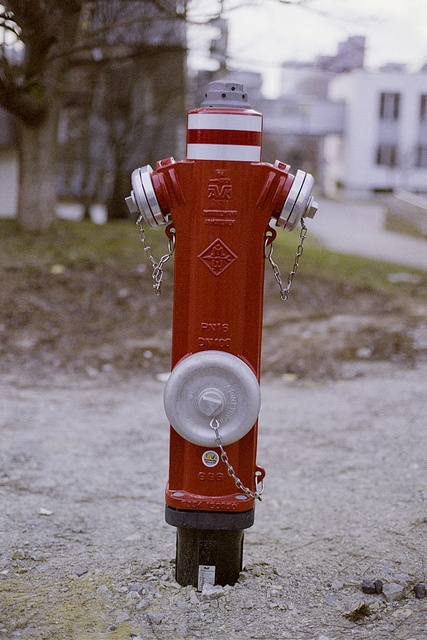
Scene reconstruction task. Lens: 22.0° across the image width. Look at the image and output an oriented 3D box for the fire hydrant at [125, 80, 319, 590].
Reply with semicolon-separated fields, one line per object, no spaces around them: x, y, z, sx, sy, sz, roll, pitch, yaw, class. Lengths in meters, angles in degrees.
0.016;0.061;3.901;0.666;1.777;0.418;1;13;-4;fire hydrant
